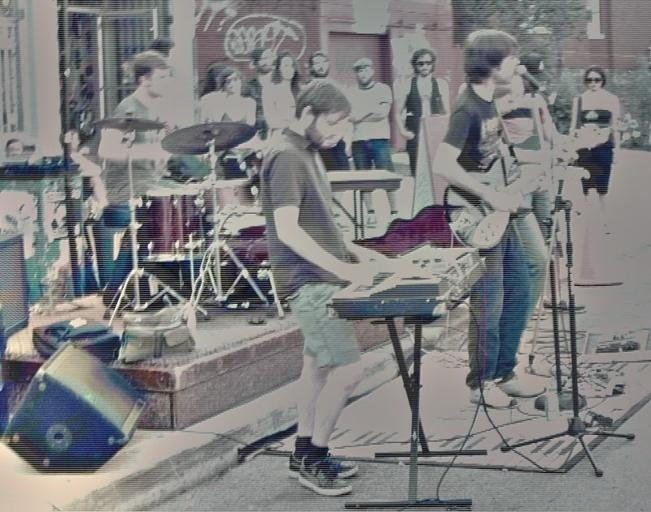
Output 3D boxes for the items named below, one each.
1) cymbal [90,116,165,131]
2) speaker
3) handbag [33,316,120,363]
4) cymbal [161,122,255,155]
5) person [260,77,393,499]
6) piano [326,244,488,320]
[{"bbox_3d":[-1.413,-0.967,7.845,0.401,0.087,0.171,-5,-28,-2],"label":"cymbal"},{"bbox_3d":[-1.829,1.077,7.923,0.836,0.750,0.596,34,13,0],"label":"speaker"},{"bbox_3d":[-1.798,0.613,7.914,0.501,0.114,0.420,14,25,21],"label":"handbag"},{"bbox_3d":[-0.843,-0.873,7.893,0.627,0.236,0.091,-8,10,4],"label":"cymbal"},{"bbox_3d":[-0.039,0.247,7.888,0.770,3.042,0.680,-3,14,-8],"label":"person"},{"bbox_3d":[0.622,0.237,7.885,0.830,0.188,0.736,0,20,26],"label":"piano"}]
